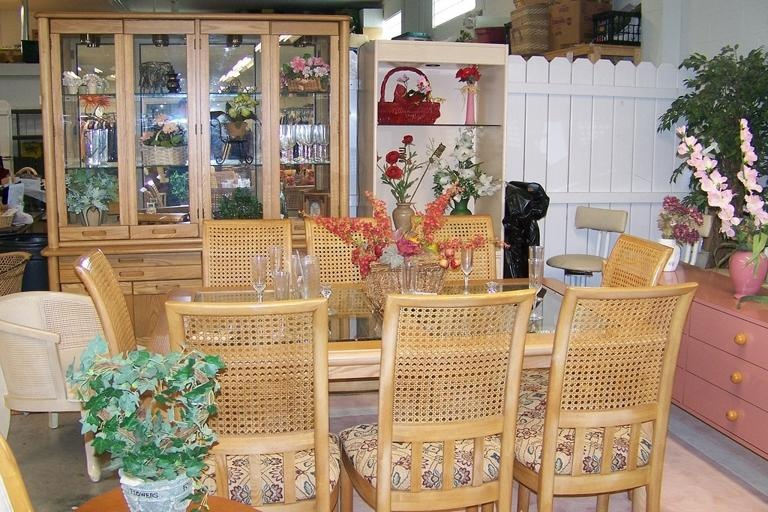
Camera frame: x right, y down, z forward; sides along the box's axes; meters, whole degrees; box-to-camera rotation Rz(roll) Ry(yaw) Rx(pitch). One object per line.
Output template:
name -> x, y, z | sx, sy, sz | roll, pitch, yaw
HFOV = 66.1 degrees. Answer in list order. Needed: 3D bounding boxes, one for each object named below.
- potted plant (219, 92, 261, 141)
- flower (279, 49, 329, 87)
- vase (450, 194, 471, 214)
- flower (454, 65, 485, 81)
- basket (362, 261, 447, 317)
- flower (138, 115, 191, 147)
potted plant -> -1.116, -1.073, 4.558 | 0.288, 0.351, 0.352 | -1, 6, -8
flower -> -0.607, -1.426, 4.552 | 0.295, 0.195, 0.285 | -3, 27, -9
vase -> 0.639, -0.423, 4.921 | 0.176, 0.203, 0.174 | -4, 8, -45
flower -> 0.705, -1.496, 4.928 | 0.178, 0.118, 0.176 | 2, 9, 20
basket -> 0.069, 0.123, 2.577 | 0.294, 0.204, 0.264 | 1, 7, 11
flower -> -1.658, -0.942, 4.487 | 0.256, 0.126, 0.278 | -4, 7, -33
